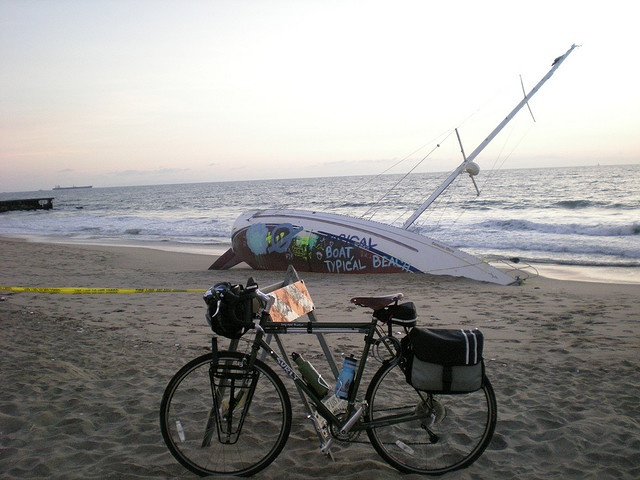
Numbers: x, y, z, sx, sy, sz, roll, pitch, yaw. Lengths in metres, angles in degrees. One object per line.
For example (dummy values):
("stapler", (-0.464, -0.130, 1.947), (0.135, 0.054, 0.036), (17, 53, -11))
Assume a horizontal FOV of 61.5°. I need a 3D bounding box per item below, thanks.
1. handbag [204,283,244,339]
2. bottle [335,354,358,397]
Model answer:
("handbag", (-0.828, 0.620, 4.693), (0.325, 0.508, 0.267), (-4, 12, -7))
("bottle", (0.230, 1.231, 4.834), (0.189, 0.390, 0.165), (0, 13, 10))
